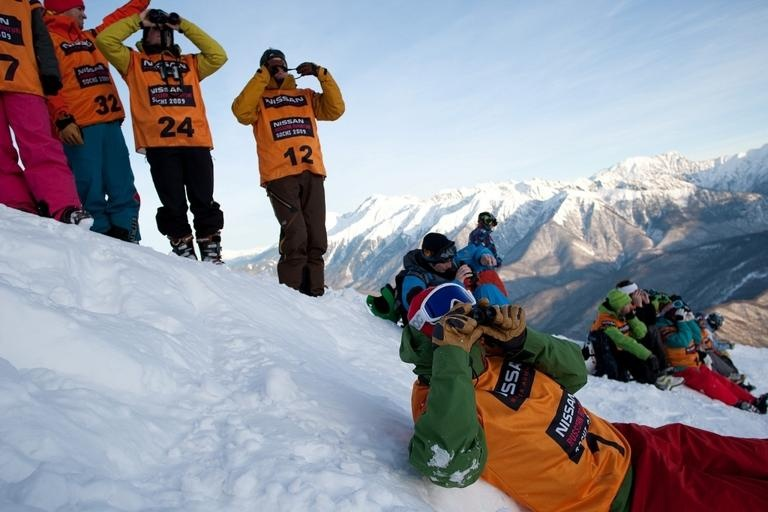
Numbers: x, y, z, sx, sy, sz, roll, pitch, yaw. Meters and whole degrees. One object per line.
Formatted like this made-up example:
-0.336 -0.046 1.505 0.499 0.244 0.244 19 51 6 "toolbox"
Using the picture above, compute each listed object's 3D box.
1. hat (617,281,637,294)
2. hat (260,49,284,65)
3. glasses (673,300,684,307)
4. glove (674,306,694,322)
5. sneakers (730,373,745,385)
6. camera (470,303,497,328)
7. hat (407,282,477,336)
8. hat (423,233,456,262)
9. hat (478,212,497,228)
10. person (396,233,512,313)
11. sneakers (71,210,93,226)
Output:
4.304 0.543 9.491 0.245 0.157 0.305 -11 6 -8 "hat"
-1.565 -2.859 7.660 0.317 0.181 0.437 7 3 -14 "hat"
5.542 0.879 10.076 0.131 0.041 0.134 3 20 27 "glasses"
5.573 1.105 9.966 0.290 0.129 0.228 42 44 23 "glove"
7.075 2.474 10.718 0.225 0.087 0.229 11 20 32 "sneakers"
0.798 0.469 4.285 0.186 0.187 0.085 7 26 13 "camera"
0.467 0.388 4.594 0.391 0.509 0.438 -12 64 -44 "hat"
0.646 -0.133 6.880 0.428 0.349 0.335 -13 12 22 "hat"
2.177 -0.749 11.157 0.424 0.382 0.348 -3 5 -14 "hat"
0.789 0.257 7.753 1.420 0.739 1.534 2 14 -7 "person"
-3.175 -0.401 5.608 0.187 0.124 0.251 7 3 -8 "sneakers"
